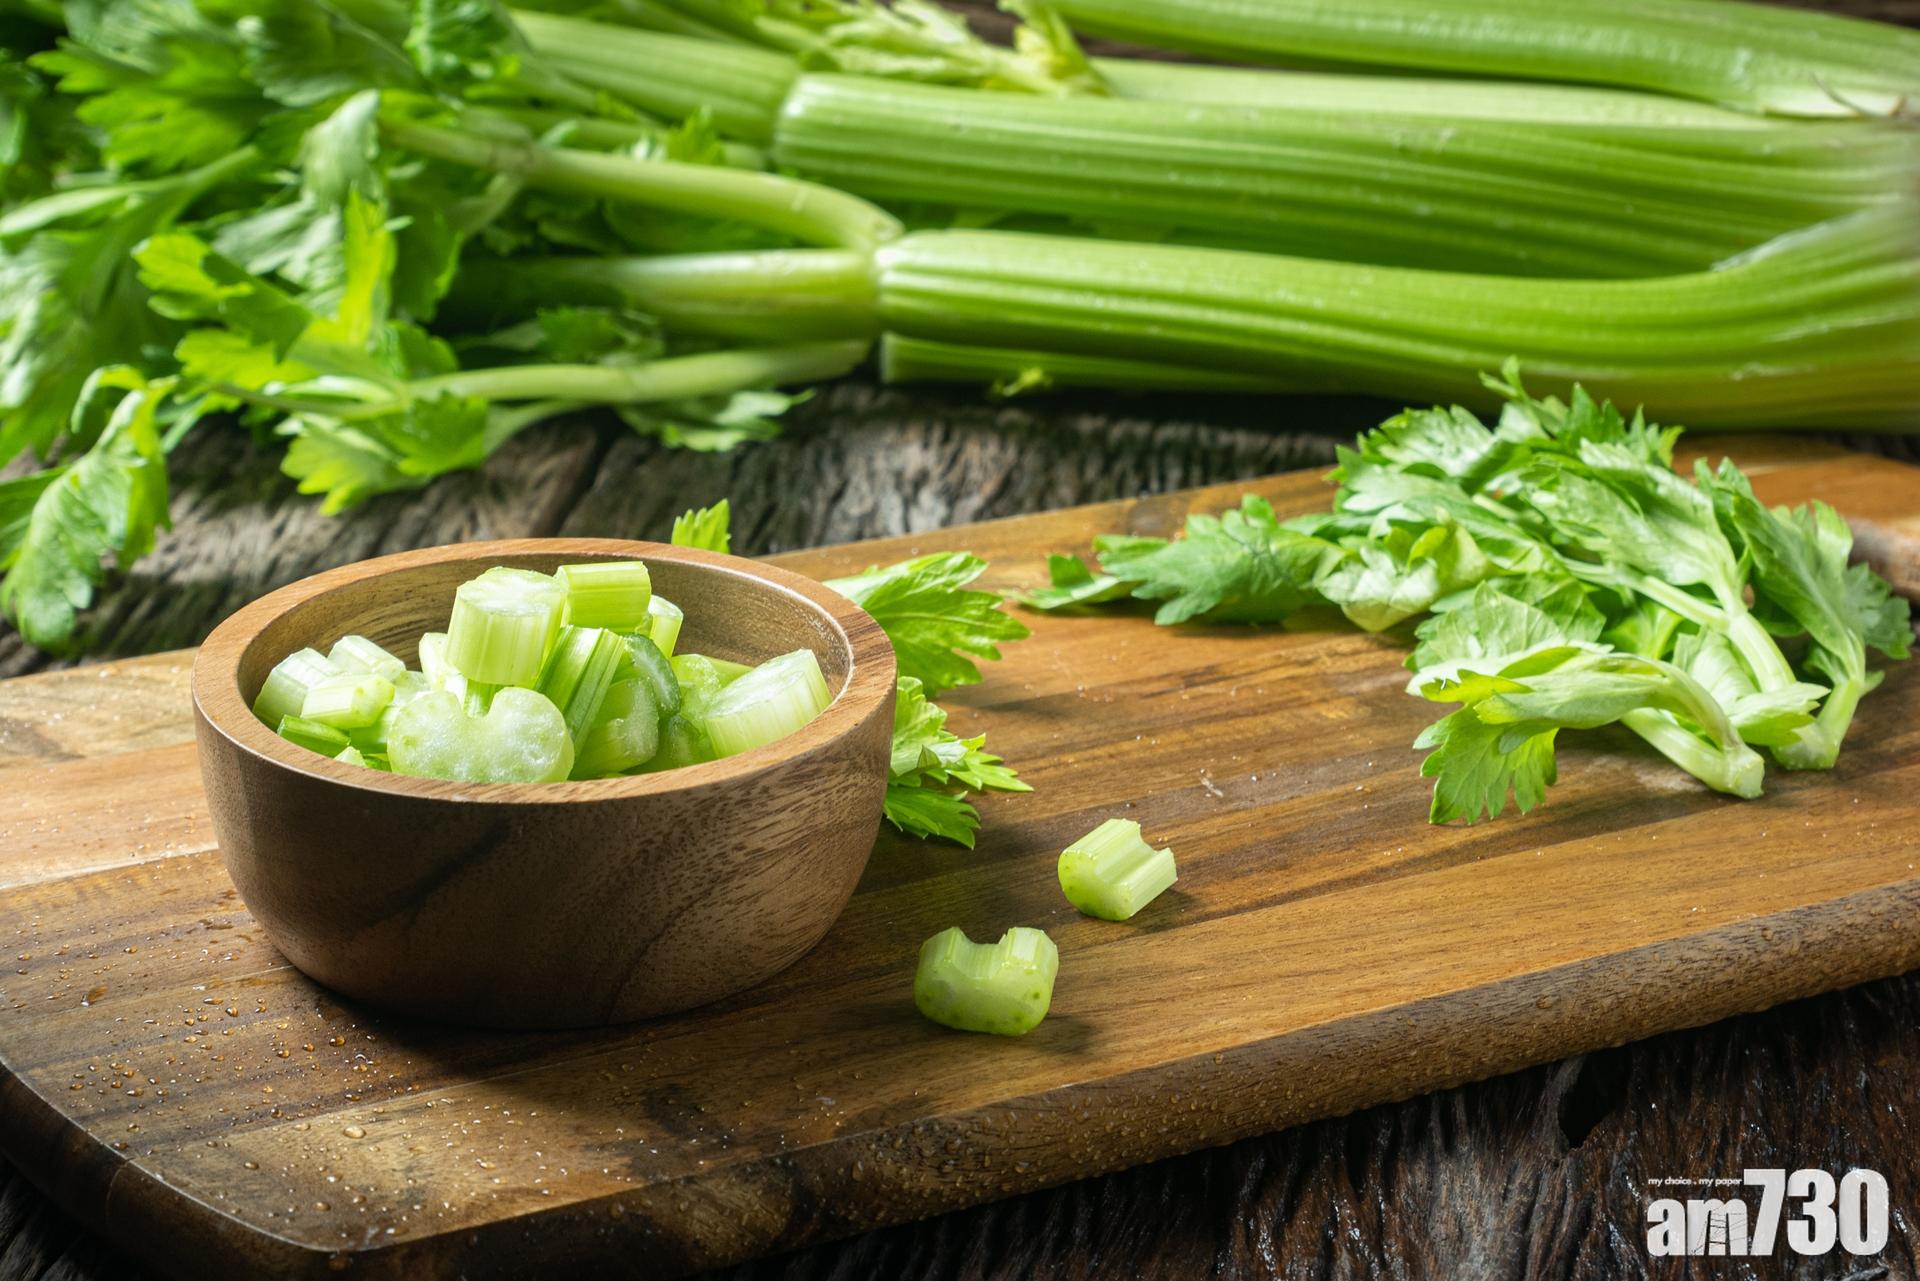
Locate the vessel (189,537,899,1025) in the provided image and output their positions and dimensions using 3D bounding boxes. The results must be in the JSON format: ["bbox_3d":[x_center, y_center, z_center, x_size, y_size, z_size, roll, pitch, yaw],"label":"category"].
[{"bbox_3d":[-0.248,0.065,0.999,0.387,0.126,0.331,12,27,10],"label":"vessel"}]
